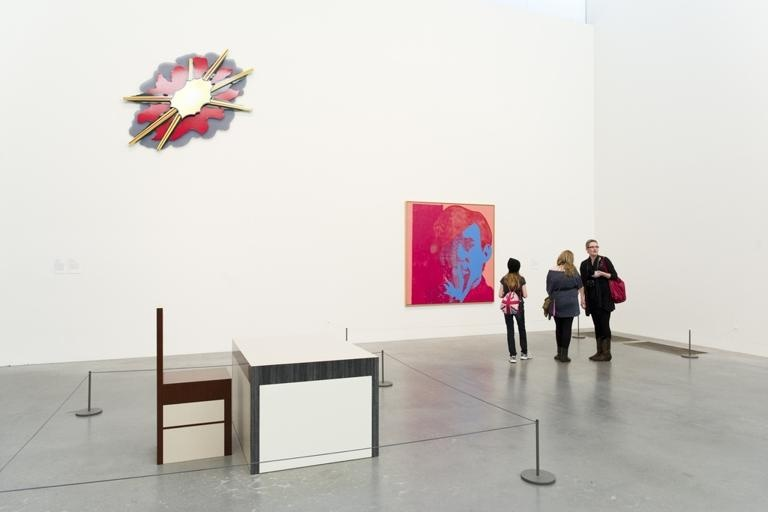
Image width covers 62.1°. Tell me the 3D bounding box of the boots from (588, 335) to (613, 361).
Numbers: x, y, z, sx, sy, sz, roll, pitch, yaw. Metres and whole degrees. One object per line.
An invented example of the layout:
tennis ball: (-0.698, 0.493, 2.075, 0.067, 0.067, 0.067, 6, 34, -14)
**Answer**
boots: (4.104, 1.766, 12.209, 0.434, 0.520, 0.419, 2, -3, 1)

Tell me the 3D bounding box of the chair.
chair: (-2.809, 1.782, 8.811, 1.031, 1.897, 1.005, 4, -11, -39)

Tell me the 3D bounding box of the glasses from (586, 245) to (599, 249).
glasses: (3.882, -0.173, 11.914, 0.227, 0.075, 0.128, 6, 8, 43)

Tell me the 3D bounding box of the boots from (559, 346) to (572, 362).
boots: (3.447, 1.850, 12.023, 0.267, 0.250, 0.218, -1, 2, -26)

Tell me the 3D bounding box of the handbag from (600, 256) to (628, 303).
handbag: (4.343, 0.480, 12.082, 0.433, 0.894, 0.441, 2, 7, 19)

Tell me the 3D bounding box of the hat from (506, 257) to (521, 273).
hat: (2.430, 0.201, 11.955, 0.197, 0.281, 0.368, 2, 7, 15)

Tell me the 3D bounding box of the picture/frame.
picture/frame: (1.359, -0.053, 14.099, 2.336, 2.299, 0.172, -1, 0, -17)

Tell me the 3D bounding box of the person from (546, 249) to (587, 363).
person: (3.423, 0.941, 12.110, 0.687, 2.054, 0.605, -5, 9, -37)
